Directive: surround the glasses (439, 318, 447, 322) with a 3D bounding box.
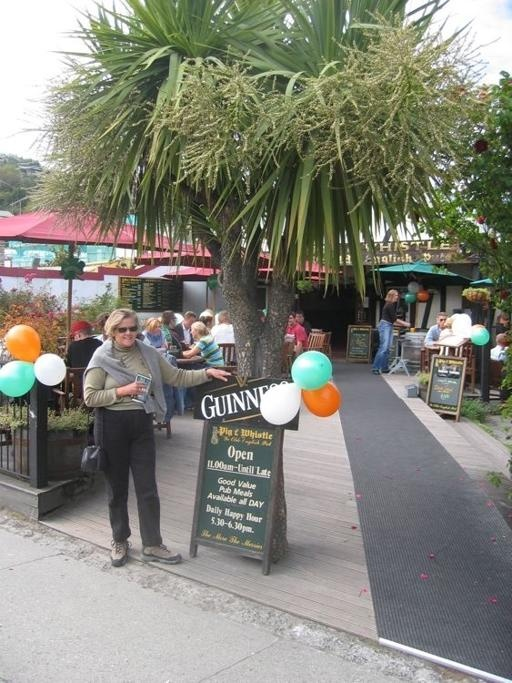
[{"bbox_3d":[3.788,-0.445,10.356,0.080,0.098,0.054,2,7,2],"label":"glasses"}]

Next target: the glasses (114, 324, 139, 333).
[{"bbox_3d":[-0.835,-0.080,3.292,0.139,0.048,0.051,-1,3,-17],"label":"glasses"}]

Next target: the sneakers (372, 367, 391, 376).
[{"bbox_3d":[3.152,0.761,12.686,0.549,0.227,0.182,2,1,-42],"label":"sneakers"}]

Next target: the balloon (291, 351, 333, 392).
[{"bbox_3d":[0.318,0.181,2.971,0.220,0.245,0.240,0,3,3],"label":"balloon"}]

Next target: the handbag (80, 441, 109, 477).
[{"bbox_3d":[-1.018,0.746,3.224,0.143,0.164,0.119,-1,3,-17],"label":"handbag"}]

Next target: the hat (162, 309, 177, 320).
[{"bbox_3d":[-1.389,-0.441,8.046,0.152,0.191,0.187,8,6,23],"label":"hat"}]

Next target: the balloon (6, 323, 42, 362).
[{"bbox_3d":[-1.700,0.029,3.725,0.210,0.281,0.241,-1,3,-25],"label":"balloon"}]

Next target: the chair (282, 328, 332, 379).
[{"bbox_3d":[1.076,0.110,11.925,1.101,1.459,1.046,0,-4,29],"label":"chair"}]

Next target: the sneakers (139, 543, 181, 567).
[{"bbox_3d":[-0.615,1.383,3.290,0.266,0.124,0.103,2,4,8],"label":"sneakers"}]

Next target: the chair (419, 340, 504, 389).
[{"bbox_3d":[4.367,0.488,10.234,1.468,0.696,0.969,-5,8,-39],"label":"chair"}]

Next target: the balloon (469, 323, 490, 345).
[{"bbox_3d":[3.715,-0.103,8.529,0.267,0.307,0.335,1,3,22],"label":"balloon"}]

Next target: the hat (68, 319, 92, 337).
[{"bbox_3d":[-1.924,-0.147,5.641,0.186,0.100,0.260,-17,2,-32],"label":"hat"}]

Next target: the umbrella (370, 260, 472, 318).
[{"bbox_3d":[4.752,-1.472,14.245,2.156,1.446,2.168,1,-5,7],"label":"umbrella"}]

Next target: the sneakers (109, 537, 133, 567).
[{"bbox_3d":[-0.892,1.389,3.325,0.073,0.091,0.200,2,0,-6],"label":"sneakers"}]

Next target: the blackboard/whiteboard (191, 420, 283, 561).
[{"bbox_3d":[-0.098,0.953,3.391,0.599,0.986,0.391,2,1,18],"label":"blackboard/whiteboard"}]
